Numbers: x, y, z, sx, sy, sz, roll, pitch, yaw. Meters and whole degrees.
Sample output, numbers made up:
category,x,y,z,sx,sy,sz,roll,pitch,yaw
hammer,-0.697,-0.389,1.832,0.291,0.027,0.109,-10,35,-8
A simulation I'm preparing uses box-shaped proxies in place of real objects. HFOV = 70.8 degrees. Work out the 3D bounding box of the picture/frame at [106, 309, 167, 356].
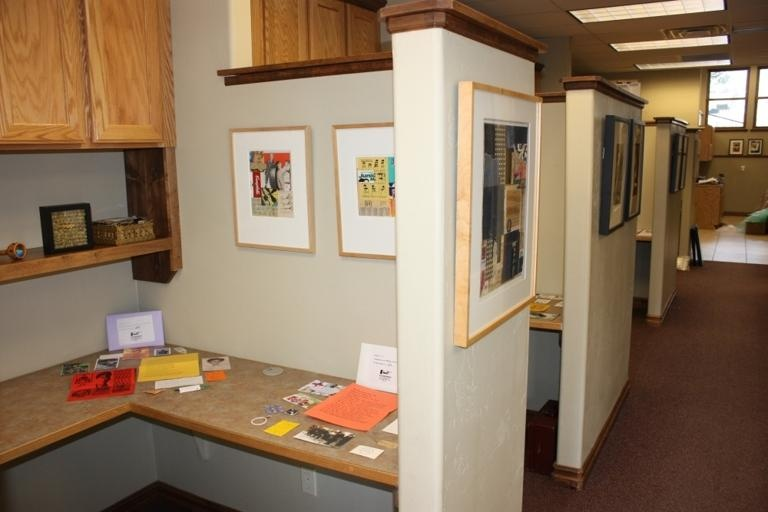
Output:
category,x,y,z,sx,sy,sz,roll,pitch,yaw
picture/frame,-1.680,0.529,3.666,0.281,0.200,0.030,-4,5,-3

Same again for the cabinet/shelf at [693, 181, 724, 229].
category,x,y,z,sx,sy,sz,roll,pitch,yaw
cabinet/shelf,7.489,-1.191,12.600,0.628,1.087,1.183,1,12,25

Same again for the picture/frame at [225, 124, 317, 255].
category,x,y,z,sx,sy,sz,roll,pitch,yaw
picture/frame,-0.650,-0.417,3.235,0.736,0.906,0.089,4,11,24

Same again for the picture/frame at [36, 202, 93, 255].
category,x,y,z,sx,sy,sz,roll,pitch,yaw
picture/frame,-1.864,-0.155,3.178,0.082,0.303,0.280,2,11,31

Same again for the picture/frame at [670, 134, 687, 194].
category,x,y,z,sx,sy,sz,roll,pitch,yaw
picture/frame,3.702,-1.197,6.856,0.107,0.759,0.812,4,15,38

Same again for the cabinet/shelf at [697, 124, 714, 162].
category,x,y,z,sx,sy,sz,roll,pitch,yaw
cabinet/shelf,7.985,-2.818,13.488,0.270,0.852,0.925,5,11,30

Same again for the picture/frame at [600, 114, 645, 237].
category,x,y,z,sx,sy,sz,roll,pitch,yaw
picture/frame,1.830,-0.642,4.199,0.077,0.719,1.005,4,16,30
